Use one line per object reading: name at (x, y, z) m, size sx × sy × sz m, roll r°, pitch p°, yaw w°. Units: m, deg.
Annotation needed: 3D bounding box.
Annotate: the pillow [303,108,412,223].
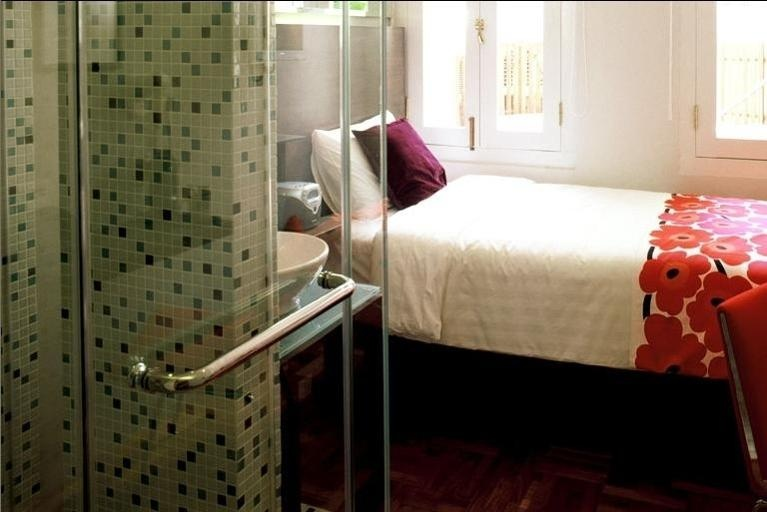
pillow at (-0.064, -0.165, 1.166) m, size 0.064 × 0.186 × 0.210 m, roll -1°, pitch 11°, yaw 30°
